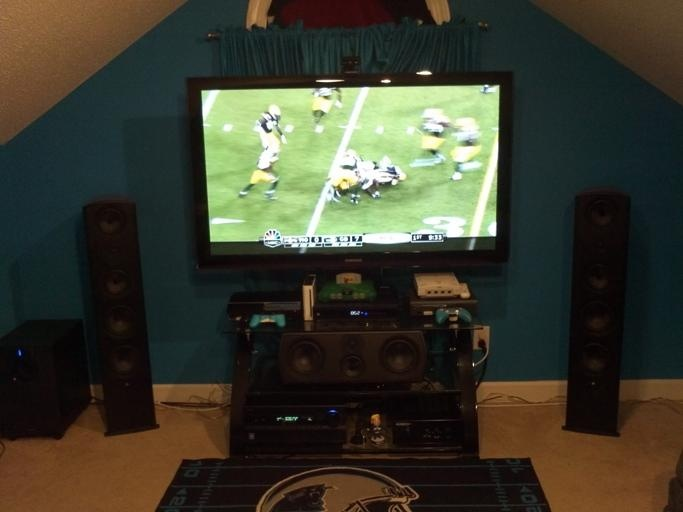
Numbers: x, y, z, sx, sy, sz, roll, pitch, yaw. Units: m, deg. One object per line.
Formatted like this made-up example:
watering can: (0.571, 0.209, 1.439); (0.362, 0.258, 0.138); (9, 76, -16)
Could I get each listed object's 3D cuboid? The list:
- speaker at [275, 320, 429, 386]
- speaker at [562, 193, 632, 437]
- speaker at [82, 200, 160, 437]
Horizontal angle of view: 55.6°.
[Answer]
speaker: (0.105, 0.591, 3.767); (0.895, 0.307, 0.261); (-4, -8, 20)
speaker: (1.461, 0.354, 3.713); (0.294, 1.425, 0.101); (2, 12, 16)
speaker: (-1.288, 0.384, 3.811); (0.299, 1.406, 0.097); (-5, 12, -16)
